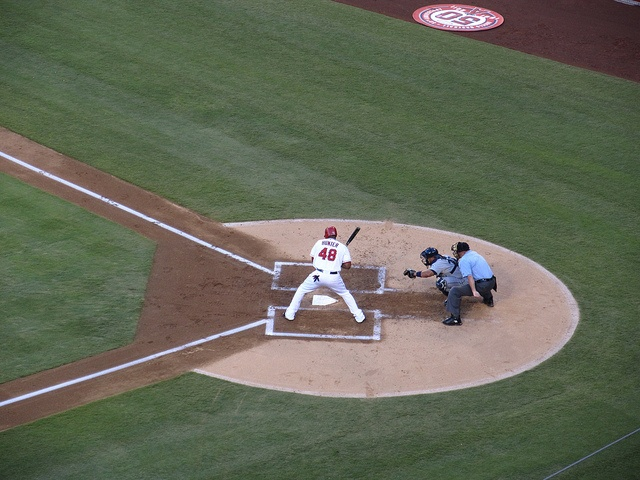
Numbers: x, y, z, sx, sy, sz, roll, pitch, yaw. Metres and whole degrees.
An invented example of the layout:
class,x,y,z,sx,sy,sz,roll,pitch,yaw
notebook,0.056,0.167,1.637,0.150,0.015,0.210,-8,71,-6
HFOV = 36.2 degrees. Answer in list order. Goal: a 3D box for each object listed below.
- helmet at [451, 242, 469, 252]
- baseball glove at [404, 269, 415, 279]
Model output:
class,x,y,z,sx,sy,sz,roll,pitch,yaw
helmet,2.967,0.127,20.506,0.324,0.173,0.209,16,31,26
baseball glove,1.877,0.701,20.733,0.128,0.183,0.192,-9,-42,2
